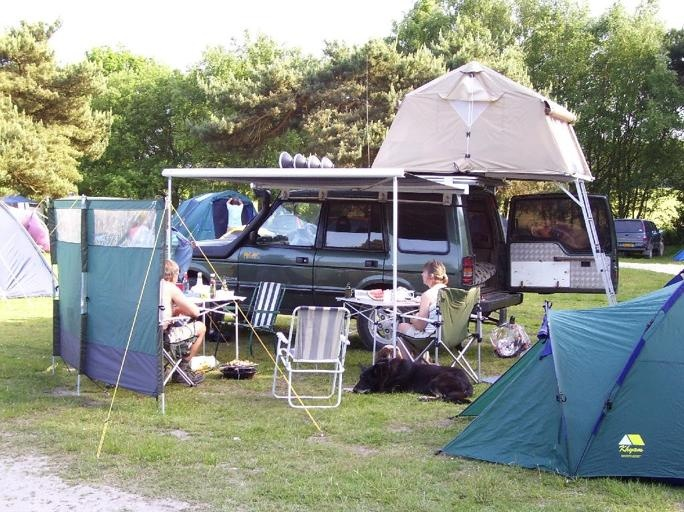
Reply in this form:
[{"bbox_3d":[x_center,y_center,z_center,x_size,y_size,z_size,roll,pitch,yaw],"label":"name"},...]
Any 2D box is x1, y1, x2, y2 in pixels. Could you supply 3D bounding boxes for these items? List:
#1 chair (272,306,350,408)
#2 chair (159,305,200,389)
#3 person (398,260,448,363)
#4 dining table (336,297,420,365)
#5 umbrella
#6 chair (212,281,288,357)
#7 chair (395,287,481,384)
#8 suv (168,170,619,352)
[{"bbox_3d":[-0.391,1.159,11.104,0.943,1.399,1.667,-1,12,-5],"label":"chair"},{"bbox_3d":[-2.085,1.144,11.075,0.535,1.093,0.508,11,13,24],"label":"chair"},{"bbox_3d":[1.068,0.747,11.590,0.624,1.442,0.593,6,11,22],"label":"person"},{"bbox_3d":[0.534,0.976,12.324,0.936,0.913,1.108,0,12,-12],"label":"dining table"},{"bbox_3d":[3.103,-1.446,15.527,3.654,4.130,4.193,3,12,36],"label":"umbrella"},{"bbox_3d":[-1.498,0.905,12.989,0.947,1.602,1.111,0,-1,33],"label":"chair"},{"bbox_3d":[1.528,1.055,11.886,0.894,1.398,0.973,-5,14,-35],"label":"chair"},{"bbox_3d":[0.811,0.103,12.688,6.758,3.082,2.815,0,0,8],"label":"suv"}]
